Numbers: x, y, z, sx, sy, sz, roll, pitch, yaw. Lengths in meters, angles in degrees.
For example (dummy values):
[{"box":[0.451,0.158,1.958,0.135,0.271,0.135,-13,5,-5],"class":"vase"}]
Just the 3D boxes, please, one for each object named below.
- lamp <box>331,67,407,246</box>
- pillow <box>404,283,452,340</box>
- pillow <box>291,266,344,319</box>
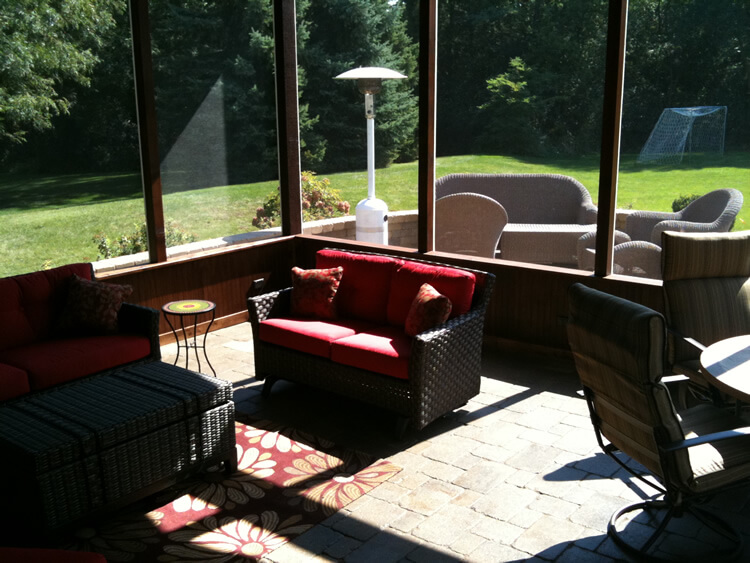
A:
[{"box":[0.009,-1.384,6.782,0.581,1.928,0.276,3,16,12],"class":"lamp"},{"box":[0.411,0.264,4.905,0.396,0.376,0.520,10,18,34],"class":"pillow"},{"box":[-0.523,0.119,5.564,0.478,0.433,0.164,-1,-16,9],"class":"pillow"}]
